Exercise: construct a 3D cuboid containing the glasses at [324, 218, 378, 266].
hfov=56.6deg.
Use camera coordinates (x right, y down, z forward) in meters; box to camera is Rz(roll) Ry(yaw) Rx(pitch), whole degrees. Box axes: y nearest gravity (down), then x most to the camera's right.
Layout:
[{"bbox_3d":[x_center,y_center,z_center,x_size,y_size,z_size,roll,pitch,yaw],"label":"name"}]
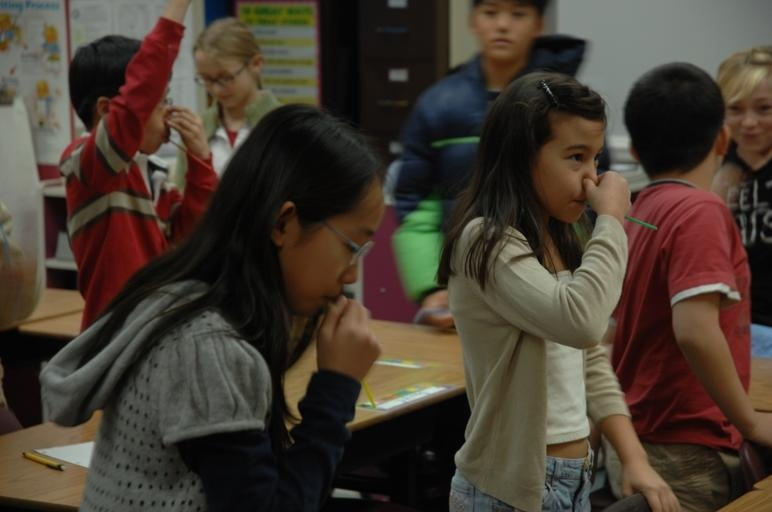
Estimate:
[{"bbox_3d":[-0.087,-0.029,1.654,0.097,0.031,0.095,49,8,11],"label":"glasses"}]
